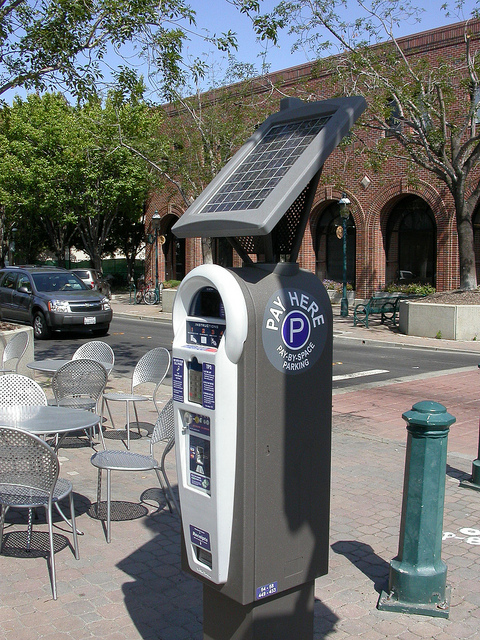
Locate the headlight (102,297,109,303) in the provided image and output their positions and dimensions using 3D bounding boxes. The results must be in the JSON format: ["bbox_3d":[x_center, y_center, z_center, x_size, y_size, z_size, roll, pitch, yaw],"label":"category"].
[{"bbox_3d":[-3.680,-0.549,17.086,0.313,0.119,0.426,-5,1,-9],"label":"headlight"}]

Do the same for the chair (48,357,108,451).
[{"bbox_3d":[-1.619,0.863,6.048,0.608,0.943,0.679,-3,0,13],"label":"chair"}]

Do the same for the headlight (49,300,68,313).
[{"bbox_3d":[-4.624,-0.339,15.935,0.444,0.311,0.244,0,4,-10],"label":"headlight"}]

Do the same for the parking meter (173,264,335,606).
[{"bbox_3d":[0.073,0.450,2.452,0.667,1.323,0.379,0,4,-6],"label":"parking meter"}]

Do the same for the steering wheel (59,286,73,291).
[{"bbox_3d":[-4.766,-0.857,17.026,0.157,0.101,0.459,2,4,19],"label":"steering wheel"}]

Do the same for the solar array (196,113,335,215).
[{"bbox_3d":[0.099,-0.669,2.640,0.446,0.468,0.598,-1,4,-28],"label":"solar array"}]
